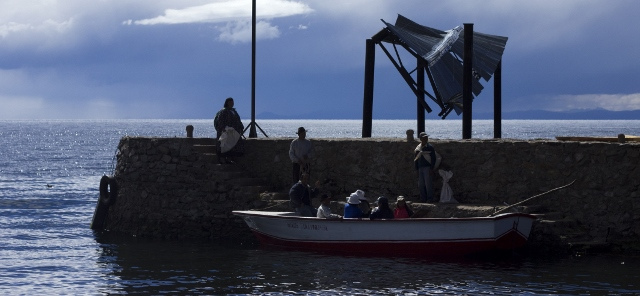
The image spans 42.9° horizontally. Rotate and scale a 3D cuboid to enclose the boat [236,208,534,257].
[{"bbox_3d":[3.203,4.844,48.074,17.285,2.349,4.071,0,2,7],"label":"boat"}]
